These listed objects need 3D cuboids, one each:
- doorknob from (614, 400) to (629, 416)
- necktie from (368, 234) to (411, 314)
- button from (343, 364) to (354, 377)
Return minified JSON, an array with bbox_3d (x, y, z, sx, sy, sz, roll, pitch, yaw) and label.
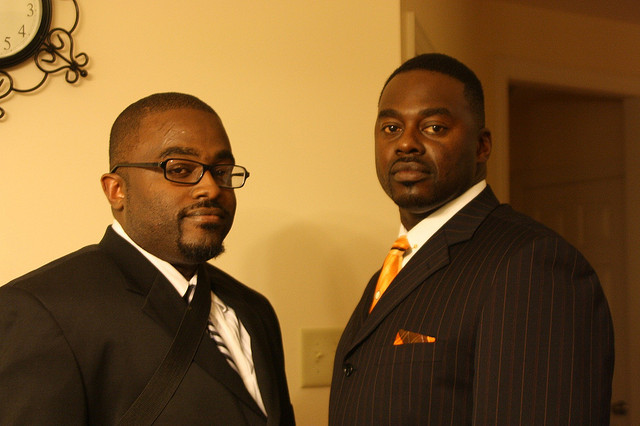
[{"bbox_3d":[1.241,0.805,2.826,0.053,0.062,0.022,-2,-16,-1],"label":"doorknob"},{"bbox_3d":[0.208,0.184,2.113,0.145,0.239,0.107,-6,-16,14],"label":"necktie"},{"bbox_3d":[0.079,0.466,2.027,0.012,0.036,0.038,11,-21,-38],"label":"button"}]
